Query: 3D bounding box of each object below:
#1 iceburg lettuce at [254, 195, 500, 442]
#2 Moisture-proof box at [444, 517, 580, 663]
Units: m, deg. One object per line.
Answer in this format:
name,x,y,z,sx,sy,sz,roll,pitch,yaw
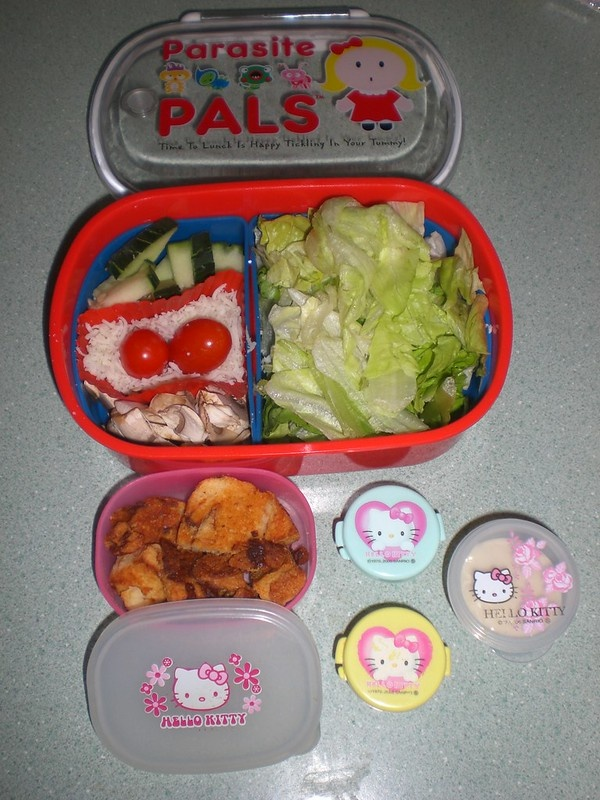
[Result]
iceburg lettuce,0.148,-0.178,1.523,0.465,0.238,0.511,-1,69,-3
Moisture-proof box,0.427,0.385,1.553,0.279,0.107,0.269,-9,77,-6
